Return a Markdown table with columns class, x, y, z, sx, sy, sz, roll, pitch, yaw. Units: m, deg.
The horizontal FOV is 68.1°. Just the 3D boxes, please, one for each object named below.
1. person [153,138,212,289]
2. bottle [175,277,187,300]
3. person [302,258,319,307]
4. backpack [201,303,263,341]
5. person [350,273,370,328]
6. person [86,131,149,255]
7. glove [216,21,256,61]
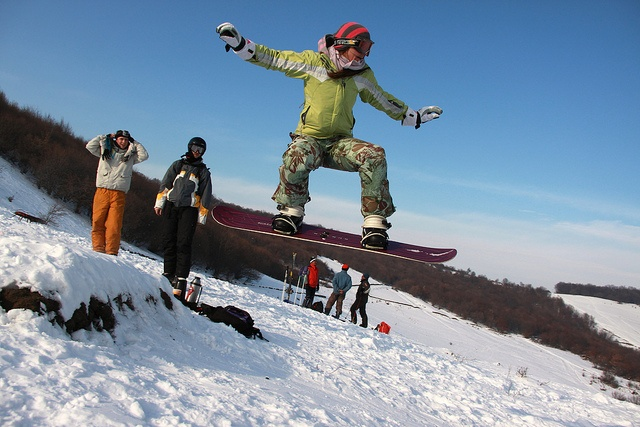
| class | x | y | z | sx | sy | sz | roll | pitch | yaw |
| --- | --- | --- | --- | --- | --- | --- | --- | --- | --- |
| person | -2.775 | -0.044 | 9.435 | 1.050 | 3.015 | 0.718 | 14 | -5 | -3 |
| bottle | -2.642 | 1.426 | 8.963 | 0.228 | 0.401 | 0.333 | 15 | -5 | -15 |
| person | -0.313 | 2.410 | 16.549 | 0.491 | 1.415 | 1.088 | 13 | -5 | 2 |
| backpack | -1.727 | 2.075 | 9.338 | 0.979 | 0.391 | 0.775 | 27 | -6 | -22 |
| person | 1.518 | 3.091 | 17.077 | 0.714 | 1.477 | 2.697 | 13 | -5 | 7 |
| person | -4.616 | -0.519 | 10.481 | 1.312 | 2.898 | 0.703 | 12 | -6 | 20 |
| glove | -1.466 | -3.146 | 8.740 | 0.537 | 0.338 | 0.907 | 13 | -6 | 24 |
